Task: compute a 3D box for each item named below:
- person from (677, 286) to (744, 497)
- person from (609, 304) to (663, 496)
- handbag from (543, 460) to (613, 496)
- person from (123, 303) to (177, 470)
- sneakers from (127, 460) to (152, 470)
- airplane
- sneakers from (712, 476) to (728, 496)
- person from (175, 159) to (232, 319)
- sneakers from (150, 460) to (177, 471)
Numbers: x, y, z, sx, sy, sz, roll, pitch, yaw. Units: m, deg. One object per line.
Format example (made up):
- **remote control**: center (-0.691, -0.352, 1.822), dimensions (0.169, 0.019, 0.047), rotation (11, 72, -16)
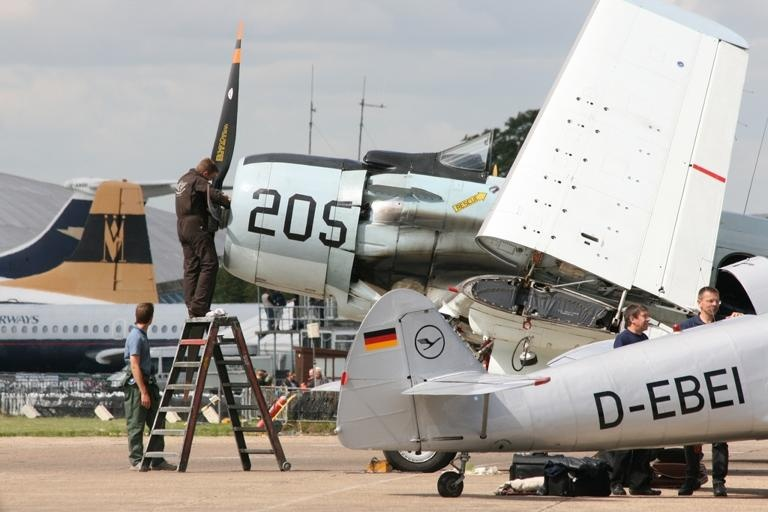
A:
- **person**: center (5.178, 2.246, 19.367), dimensions (0.913, 3.498, 0.934), rotation (2, -6, 13)
- **person**: center (4.036, 2.394, 19.257), dimensions (0.854, 3.166, 0.562), rotation (4, -6, -13)
- **handbag**: center (3.044, 3.630, 18.701), dimensions (0.717, 0.396, 0.744), rotation (7, -14, -32)
- **person**: center (-4.104, 2.325, 20.571), dimensions (0.790, 2.958, 0.759), rotation (-1, -7, 32)
- **sneakers**: center (-4.215, 3.734, 20.407), dimensions (0.453, 0.181, 0.155), rotation (-1, 3, 13)
- **airplane**: center (1.952, -0.571, 21.174), dimensions (11.199, 9.345, 5.497), rotation (3, -6, -8)
- **sneakers**: center (5.269, 3.808, 18.839), dimensions (0.206, 0.248, 0.189), rotation (2, -6, 12)
- **person**: center (-3.325, -0.325, 21.466), dimensions (0.917, 2.966, 0.859), rotation (4, -6, -10)
- **sneakers**: center (-3.782, 3.740, 20.536), dimensions (0.486, 0.198, 0.179), rotation (1, -1, -6)
